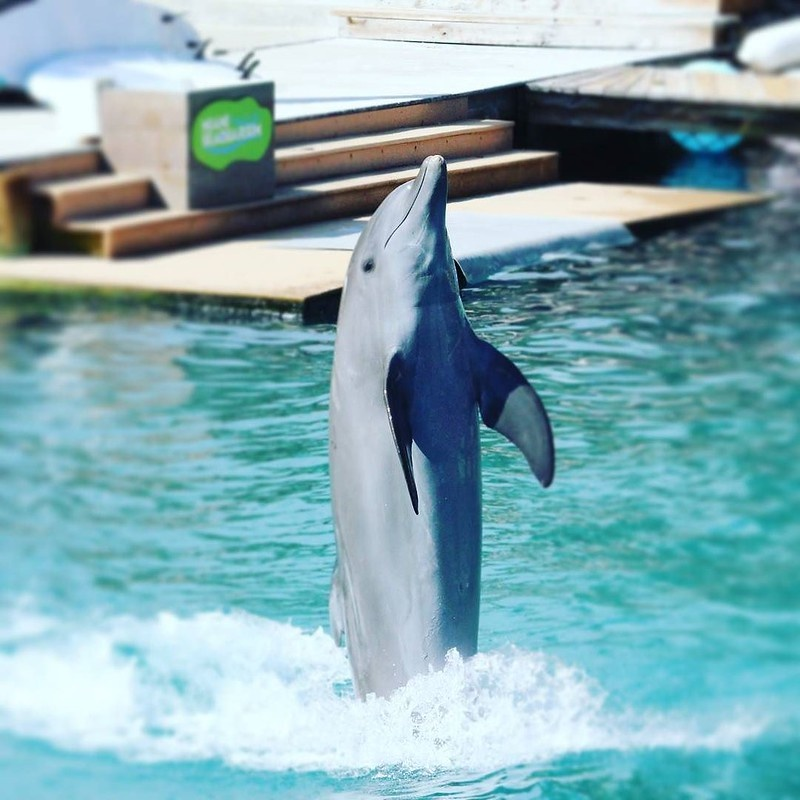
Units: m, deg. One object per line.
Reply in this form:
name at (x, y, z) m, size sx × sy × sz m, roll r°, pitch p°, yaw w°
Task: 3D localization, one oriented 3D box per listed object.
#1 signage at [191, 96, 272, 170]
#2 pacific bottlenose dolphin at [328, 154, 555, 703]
signage at (-1.052, -1.913, 11.984) m, size 0.083 × 0.491 × 0.809 m, roll 12°, pitch 5°, yaw 17°
pacific bottlenose dolphin at (0.075, 0.145, 5.427) m, size 0.771 × 1.799 × 0.416 m, roll -3°, pitch 14°, yaw 7°
